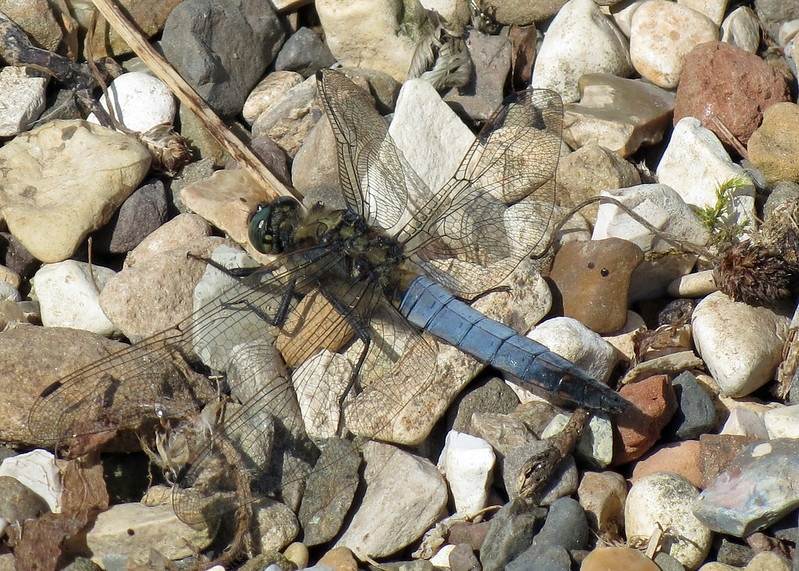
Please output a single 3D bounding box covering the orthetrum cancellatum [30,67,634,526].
[{"bbox_3d":[-0.200,-0.228,8.725,2.558,0.856,3.535,39,58,6],"label":"orthetrum cancellatum"}]
